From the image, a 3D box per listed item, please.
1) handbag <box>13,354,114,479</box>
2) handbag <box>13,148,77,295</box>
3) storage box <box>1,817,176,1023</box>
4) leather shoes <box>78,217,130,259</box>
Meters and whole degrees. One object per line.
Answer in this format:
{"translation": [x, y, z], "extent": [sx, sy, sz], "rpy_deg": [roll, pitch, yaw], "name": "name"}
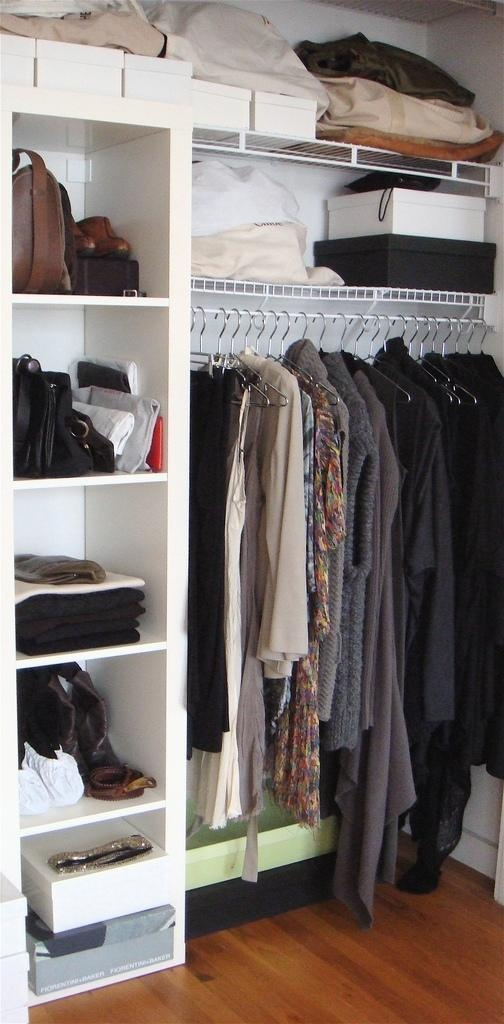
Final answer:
{"translation": [-0.328, -0.155, 1.216], "extent": [0.128, 0.189, 0.182], "rpy_deg": [8, 11, 31], "name": "handbag"}
{"translation": [-0.328, -0.450, 1.162], "extent": [0.075, 0.216, 0.194], "rpy_deg": [4, 9, 13], "name": "handbag"}
{"translation": [-0.299, 0.680, 1.377], "extent": [0.239, 0.227, 0.275], "rpy_deg": [-8, 18, -26], "name": "storage box"}
{"translation": [-0.280, -0.496, 1.319], "extent": [0.053, 0.079, 0.166], "rpy_deg": [-11, 25, -33], "name": "leather shoes"}
